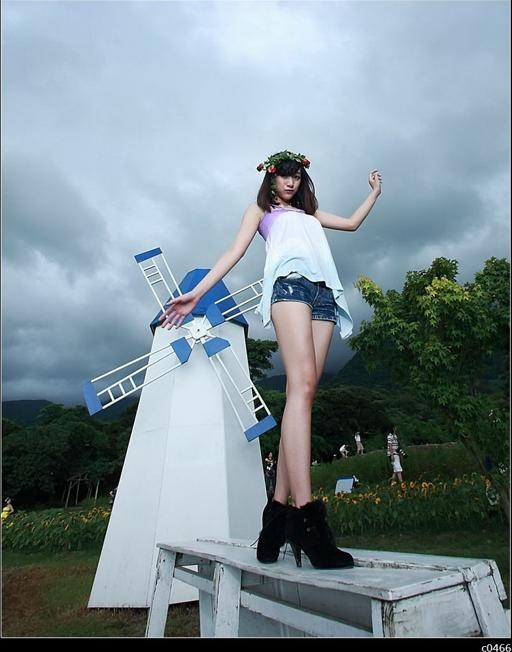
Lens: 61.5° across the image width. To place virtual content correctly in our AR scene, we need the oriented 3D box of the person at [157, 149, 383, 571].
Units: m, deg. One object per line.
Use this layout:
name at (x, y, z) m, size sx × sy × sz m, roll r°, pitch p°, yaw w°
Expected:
person at (0.173, -0.044, 1.826) m, size 1.003 × 1.904 × 0.547 m, roll 12°, pitch -27°, yaw -25°

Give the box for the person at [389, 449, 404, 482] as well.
person at (3.851, 3.906, 11.853) m, size 0.310 × 0.838 × 1.300 m, roll -8°, pitch -25°, yaw 16°
